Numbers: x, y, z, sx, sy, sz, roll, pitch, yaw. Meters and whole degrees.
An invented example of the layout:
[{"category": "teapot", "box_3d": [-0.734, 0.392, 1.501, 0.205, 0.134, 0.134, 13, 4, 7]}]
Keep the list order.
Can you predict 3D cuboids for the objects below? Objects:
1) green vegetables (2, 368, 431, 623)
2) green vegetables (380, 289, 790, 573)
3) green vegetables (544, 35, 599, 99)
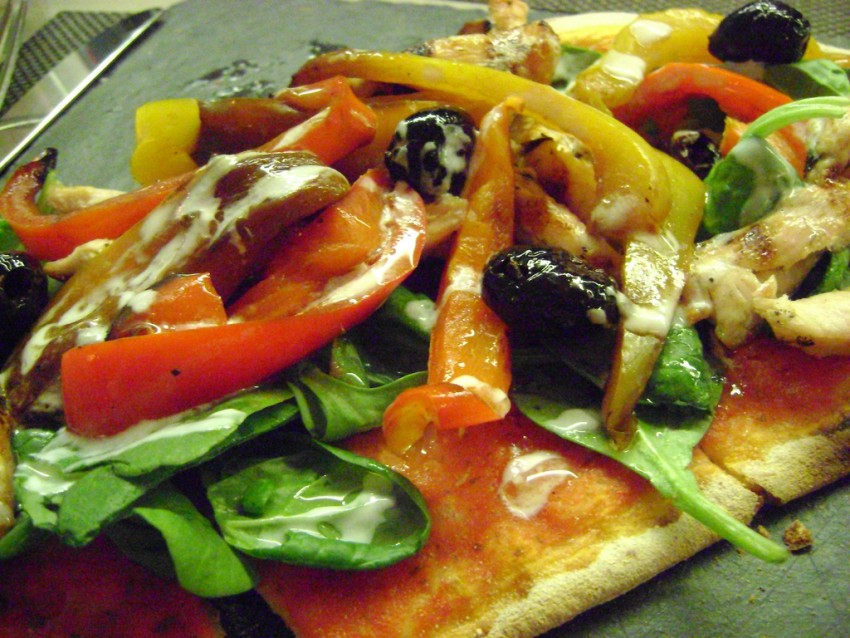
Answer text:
[{"category": "green vegetables", "box_3d": [-0.355, 0.302, 1.544, 0.684, 0.125, 0.364, 11, 62, 0]}, {"category": "green vegetables", "box_3d": [0.329, 0.147, 1.841, 0.870, 0.416, 0.594, 0, 19, 9]}, {"category": "green vegetables", "box_3d": [0.402, -0.696, 2.256, 0.120, 0.027, 0.115, -15, 31, 17]}]
